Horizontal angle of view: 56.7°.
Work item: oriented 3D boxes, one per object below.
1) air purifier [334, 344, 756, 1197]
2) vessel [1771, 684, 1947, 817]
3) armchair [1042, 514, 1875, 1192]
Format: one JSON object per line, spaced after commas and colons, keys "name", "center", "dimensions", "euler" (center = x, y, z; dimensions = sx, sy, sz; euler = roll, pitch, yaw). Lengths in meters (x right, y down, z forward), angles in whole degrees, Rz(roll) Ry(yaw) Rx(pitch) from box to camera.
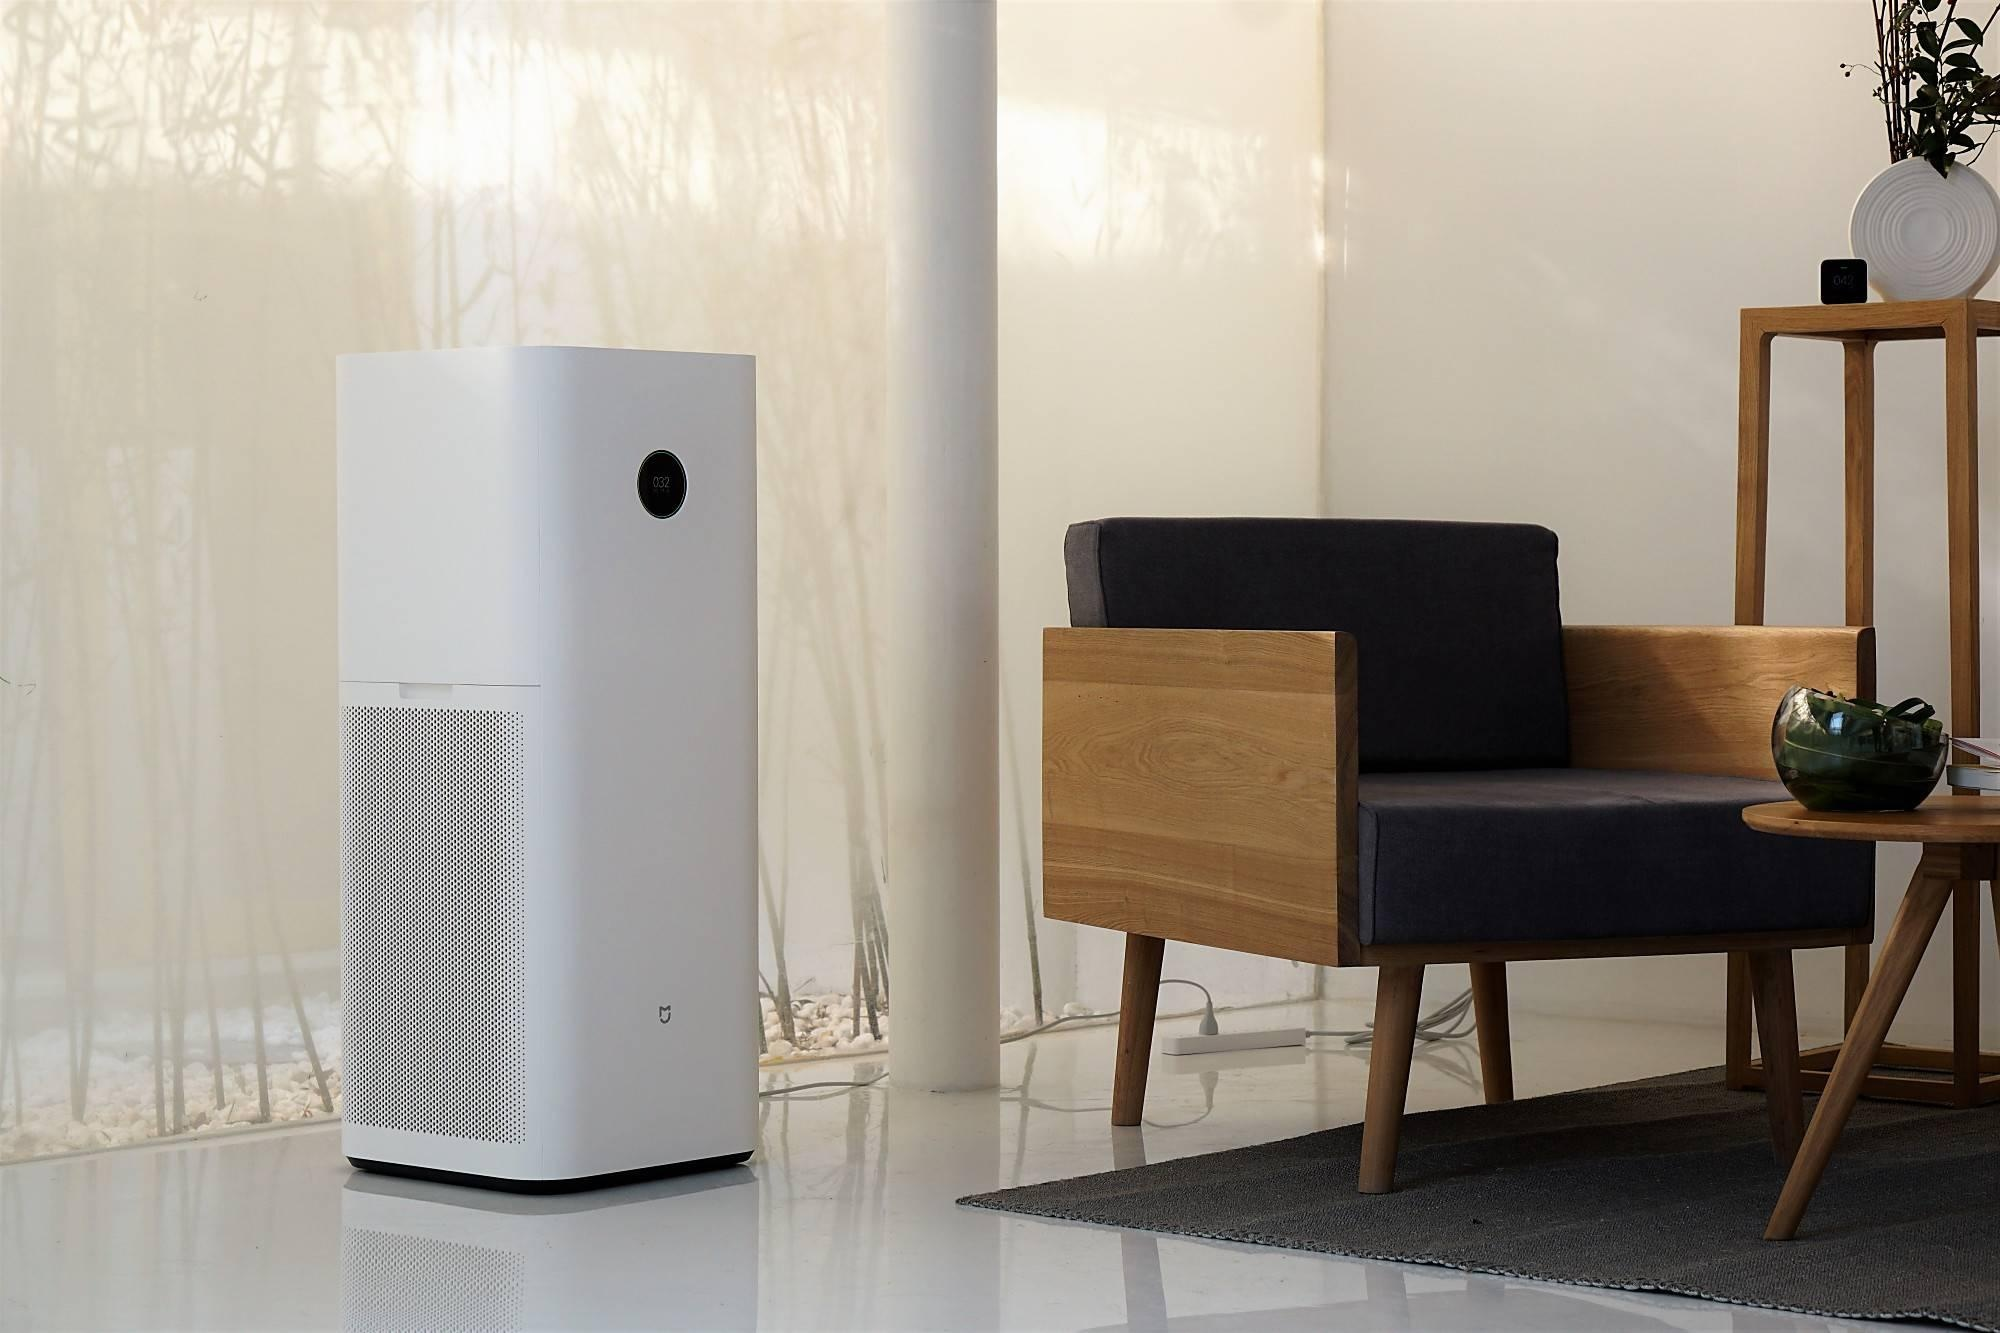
{"name": "air purifier", "center": [-0.693, 0.153, 2.845], "dimensions": [0.650, 1.257, 0.245], "euler": [-1, 3, -11]}
{"name": "vessel", "center": [1.114, 0.115, 2.425], "dimensions": [0.204, 0.119, 0.181], "euler": [-1, -5, 21]}
{"name": "armchair", "center": [0.726, 0.242, 3.086], "dimensions": [1.301, 0.858, 1.276], "euler": [0, 2, 13]}
